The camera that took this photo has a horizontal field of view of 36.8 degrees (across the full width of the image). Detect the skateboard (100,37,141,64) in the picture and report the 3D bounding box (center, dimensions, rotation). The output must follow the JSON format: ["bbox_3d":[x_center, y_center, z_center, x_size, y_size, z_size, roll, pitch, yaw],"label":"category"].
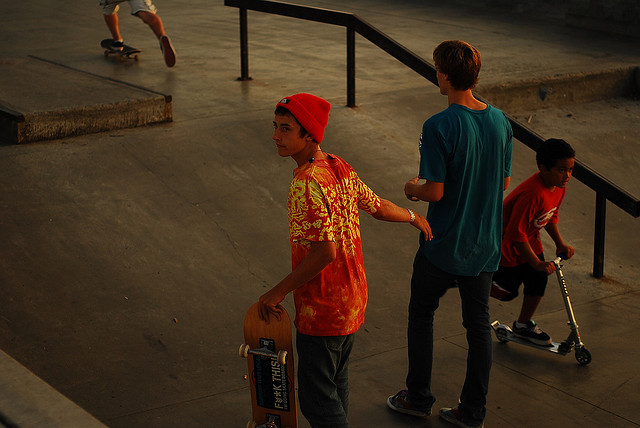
[{"bbox_3d":[-2.802,-2.305,13.596,0.945,0.137,0.244,22,45,28],"label":"skateboard"}]

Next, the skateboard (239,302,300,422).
[{"bbox_3d":[-0.404,1.273,7.963,0.388,1.103,0.184,-8,8,15],"label":"skateboard"}]

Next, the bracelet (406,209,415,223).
[{"bbox_3d":[0.792,0.017,8.258,0.027,0.083,0.093,-13,27,-16],"label":"bracelet"}]

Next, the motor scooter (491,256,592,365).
[{"bbox_3d":[2.152,0.905,9.440,0.548,0.957,1.242,-11,11,-35],"label":"motor scooter"}]
